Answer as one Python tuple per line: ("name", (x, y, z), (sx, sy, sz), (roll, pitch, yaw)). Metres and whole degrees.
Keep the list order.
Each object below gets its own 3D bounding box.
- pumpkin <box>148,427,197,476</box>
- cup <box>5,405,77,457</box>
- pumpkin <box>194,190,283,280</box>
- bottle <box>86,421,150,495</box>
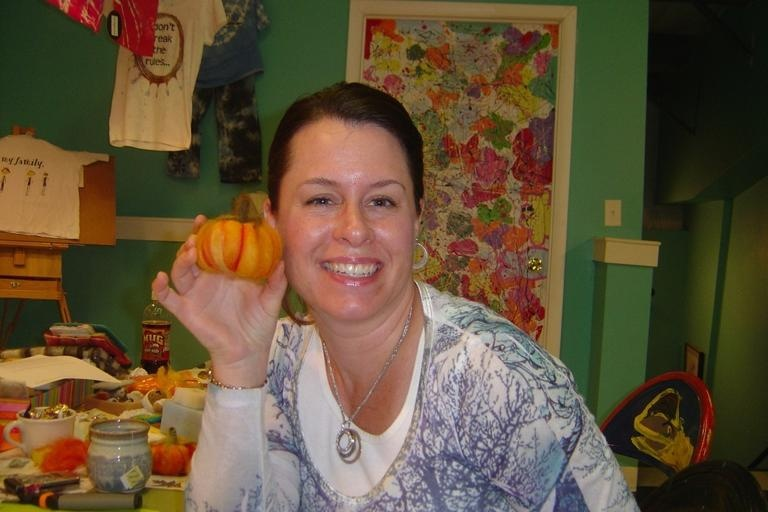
("pumpkin", (-0.883, 0.809, 2.457), (0.172, 0.158, 0.166), (8, 7, 39))
("cup", (-1.410, 0.709, 2.428), (0.257, 0.209, 0.170), (-1, 4, -35))
("pumpkin", (-0.576, -0.090, 2.308), (0.313, 0.304, 0.318), (3, 4, -31))
("bottle", (-1.047, 0.790, 2.316), (0.239, 0.286, 0.095), (3, 0, 4))
